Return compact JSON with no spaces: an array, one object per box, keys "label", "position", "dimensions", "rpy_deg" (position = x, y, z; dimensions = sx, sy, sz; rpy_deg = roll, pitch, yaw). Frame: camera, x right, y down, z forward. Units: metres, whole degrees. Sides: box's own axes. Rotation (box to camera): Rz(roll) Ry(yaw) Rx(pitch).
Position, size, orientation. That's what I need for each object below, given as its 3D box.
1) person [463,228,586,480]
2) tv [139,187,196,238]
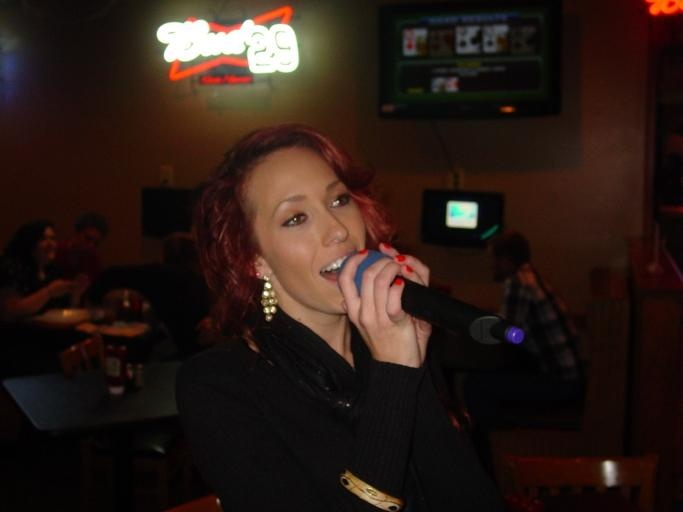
[{"label":"person","position":[1.391,0.929,4.733],"dimensions":[1.028,2.330,0.899],"rpy_deg":[-4,-17,20]},{"label":"tv","position":[-1.389,-0.369,4.886],"dimensions":[0.492,0.395,0.068],"rpy_deg":[2,11,13]}]
